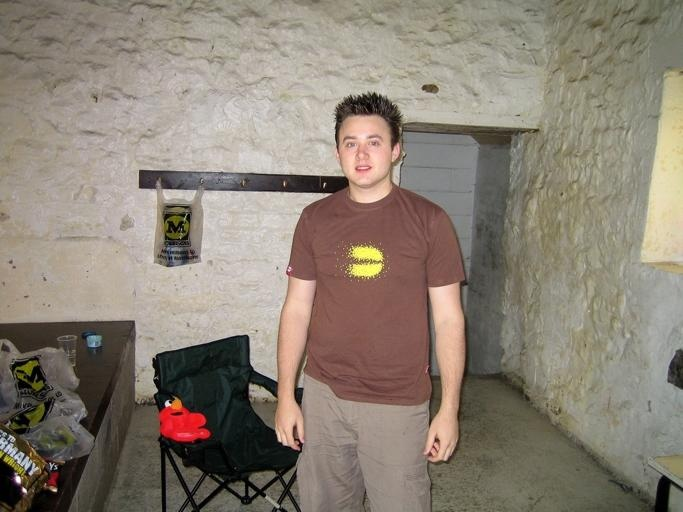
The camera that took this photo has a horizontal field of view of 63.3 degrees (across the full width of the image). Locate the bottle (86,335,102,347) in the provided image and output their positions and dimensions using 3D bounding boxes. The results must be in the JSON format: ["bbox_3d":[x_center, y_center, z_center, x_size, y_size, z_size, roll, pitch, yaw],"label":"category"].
[{"bbox_3d":[-1.646,0.564,3.699,0.082,0.050,0.082,3,9,0],"label":"bottle"}]

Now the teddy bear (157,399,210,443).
[{"bbox_3d":[-0.824,0.860,2.891,0.301,0.194,0.151,2,8,17],"label":"teddy bear"}]
